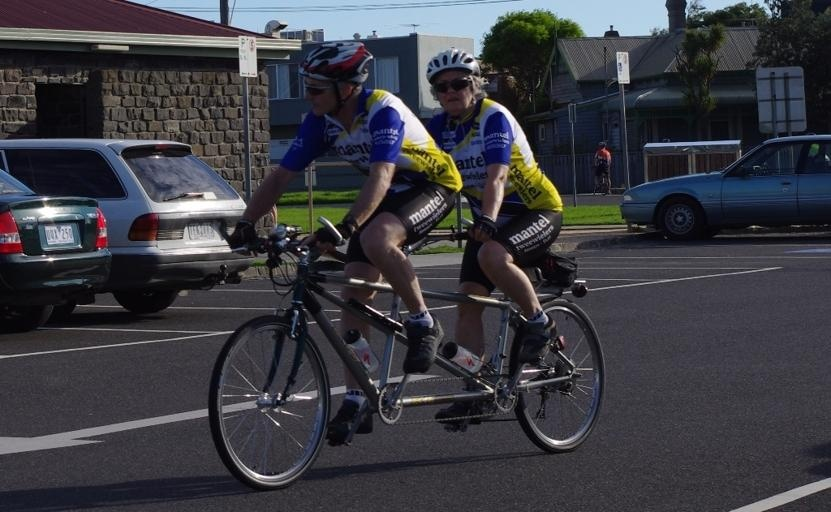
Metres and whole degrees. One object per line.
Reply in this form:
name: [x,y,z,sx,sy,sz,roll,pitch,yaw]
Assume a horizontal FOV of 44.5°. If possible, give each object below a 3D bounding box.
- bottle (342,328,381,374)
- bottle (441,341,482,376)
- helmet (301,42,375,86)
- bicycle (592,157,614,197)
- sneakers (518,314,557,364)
bottle: [-0.439,0.728,7.895,0.270,0.348,0.191,-4,10,-19]
bottle: [0.365,0.815,8.200,0.313,0.199,0.124,25,-20,-35]
helmet: [-0.636,-1.502,7.920,0.457,0.212,0.325,-4,13,-19]
bicycle: [7.819,-3.393,42.729,0.562,1.526,1.244,0,9,6]
sneakers: [0.951,0.693,8.389,0.252,0.418,0.285,-11,54,-21]
